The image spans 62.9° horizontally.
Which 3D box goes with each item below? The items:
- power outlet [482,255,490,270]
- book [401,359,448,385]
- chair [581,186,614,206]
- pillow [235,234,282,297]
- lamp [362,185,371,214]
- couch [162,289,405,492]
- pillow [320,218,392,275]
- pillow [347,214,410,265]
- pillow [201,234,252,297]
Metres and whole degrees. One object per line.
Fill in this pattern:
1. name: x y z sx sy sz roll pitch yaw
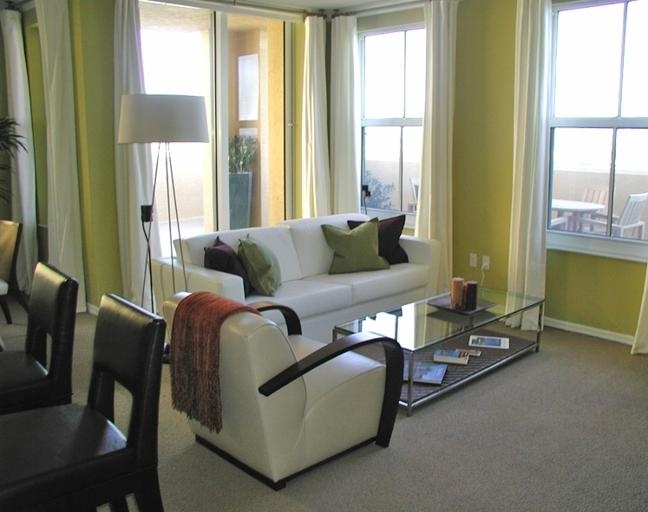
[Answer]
1. power outlet: 1.629 0.059 5.292 0.019 0.202 0.102 -7 10 -37
2. book: 0.752 0.825 3.804 0.244 0.057 0.367 3 14 21
3. chair: 2.393 -0.528 4.619 0.155 0.244 0.134 -9 17 -38
4. pillow: -0.532 0.126 4.371 0.318 0.475 0.609 -5 -6 -8
5. lamp: 0.503 -0.668 6.297 0.088 0.339 0.102 -12 16 -39
6. couch: -0.218 0.657 3.133 1.055 1.007 1.233 7 11 31
7. pillow: 0.282 -0.258 4.886 0.690 0.705 0.381 -9 10 -11
8. pillow: 0.496 -0.135 4.903 0.357 0.442 0.171 -8 1 9
9. pillow: -0.723 0.081 4.156 0.231 0.465 0.444 -12 9 0
